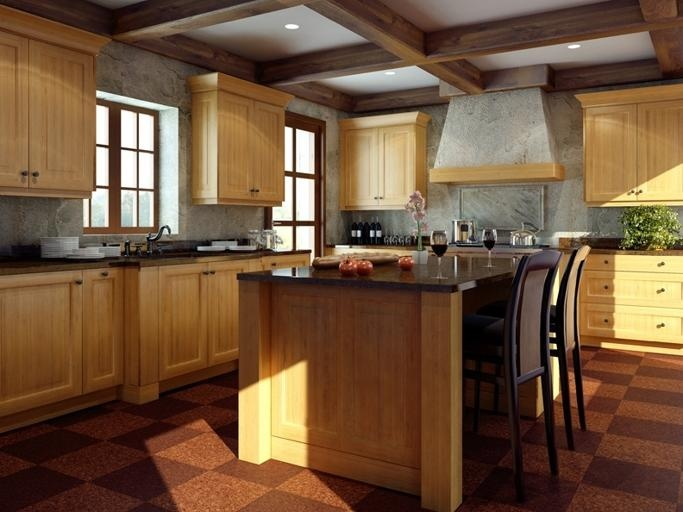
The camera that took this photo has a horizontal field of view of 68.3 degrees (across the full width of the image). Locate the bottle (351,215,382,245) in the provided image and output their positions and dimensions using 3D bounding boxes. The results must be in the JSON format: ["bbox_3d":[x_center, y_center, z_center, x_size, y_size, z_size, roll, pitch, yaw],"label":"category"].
[{"bbox_3d":[0.359,-0.346,7.242,0.476,0.332,0.376,0,6,3],"label":"bottle"}]

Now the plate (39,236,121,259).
[{"bbox_3d":[-2.000,-0.061,3.859,0.551,0.162,0.384,-3,6,-25],"label":"plate"}]

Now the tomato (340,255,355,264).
[{"bbox_3d":[0.037,0.018,2.871,0.066,0.025,0.060,1,5,24],"label":"tomato"}]

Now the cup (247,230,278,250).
[{"bbox_3d":[-0.851,-0.188,5.470,0.310,0.136,0.226,-1,0,42],"label":"cup"}]

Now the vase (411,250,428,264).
[{"bbox_3d":[0.532,0.006,3.344,0.128,0.088,0.094,-2,-2,24],"label":"vase"}]

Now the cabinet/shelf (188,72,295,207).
[{"bbox_3d":[-1.064,-1.145,5.211,0.423,1.227,0.925,5,8,37],"label":"cabinet/shelf"}]

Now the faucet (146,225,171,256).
[{"bbox_3d":[-1.674,-0.156,4.632,0.205,0.247,0.588,-2,6,-18],"label":"faucet"}]

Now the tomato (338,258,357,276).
[{"bbox_3d":[0.039,0.065,2.718,0.100,0.077,0.094,0,-1,-33],"label":"tomato"}]

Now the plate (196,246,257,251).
[{"bbox_3d":[-1.174,-0.075,5.056,0.564,0.052,0.304,-3,6,-33],"label":"plate"}]

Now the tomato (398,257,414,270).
[{"bbox_3d":[0.384,0.046,2.986,0.095,0.074,0.093,1,-1,-43],"label":"tomato"}]

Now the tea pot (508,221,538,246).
[{"bbox_3d":[2.267,-0.264,6.224,0.267,0.331,0.434,0,0,-42],"label":"tea pot"}]

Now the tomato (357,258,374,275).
[{"bbox_3d":[0.128,0.065,2.785,0.075,0.079,0.088,1,6,8],"label":"tomato"}]
